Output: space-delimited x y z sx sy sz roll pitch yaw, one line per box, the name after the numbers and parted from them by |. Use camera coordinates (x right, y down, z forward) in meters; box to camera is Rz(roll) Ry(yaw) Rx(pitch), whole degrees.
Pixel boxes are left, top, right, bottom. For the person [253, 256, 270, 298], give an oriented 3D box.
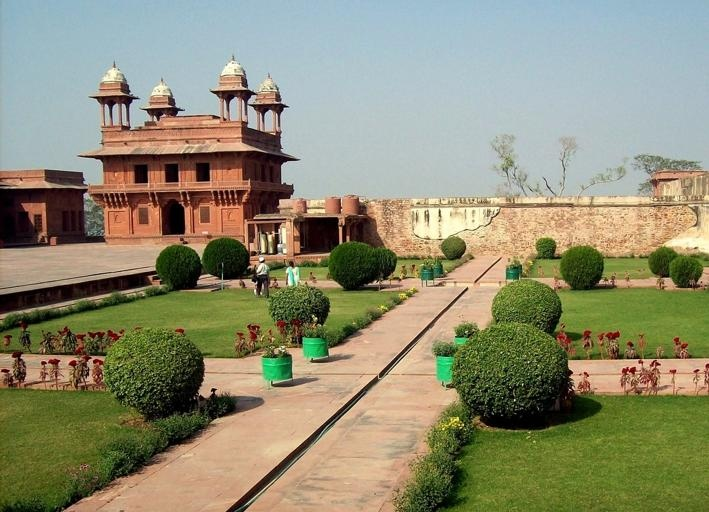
-2.863 0.640 28.949 0.422 1.241 0.937 -3 13 -7 | person

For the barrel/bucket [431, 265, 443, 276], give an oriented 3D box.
2.992 0.547 34.249 0.435 0.414 0.430 -1 -3 0 | barrel/bucket

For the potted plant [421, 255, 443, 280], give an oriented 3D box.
2.550 0.351 33.676 0.956 0.973 0.953 -2 -5 14 | potted plant

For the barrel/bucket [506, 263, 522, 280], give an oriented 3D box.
5.334 0.541 31.705 0.534 0.516 0.266 -1 -3 1 | barrel/bucket

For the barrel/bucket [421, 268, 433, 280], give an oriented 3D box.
2.437 0.617 31.827 0.346 0.247 0.343 0 -2 0 | barrel/bucket

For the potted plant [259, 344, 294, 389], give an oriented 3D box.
-1.437 2.002 17.447 0.608 0.635 0.591 -3 3 -11 | potted plant

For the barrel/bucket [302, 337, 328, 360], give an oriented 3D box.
-0.794 1.860 18.832 0.459 0.336 0.454 -1 -2 0 | barrel/bucket

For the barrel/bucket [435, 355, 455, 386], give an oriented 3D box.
1.631 2.078 17.124 0.258 0.545 0.558 -3 13 -9 | barrel/bucket

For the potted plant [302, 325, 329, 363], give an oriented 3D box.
-0.776 1.802 19.219 0.628 0.830 0.634 -2 4 3 | potted plant

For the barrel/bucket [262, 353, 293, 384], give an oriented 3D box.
-1.489 2.089 17.375 0.539 0.416 0.526 -2 0 0 | barrel/bucket

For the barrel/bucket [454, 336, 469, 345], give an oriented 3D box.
2.043 1.633 18.210 0.310 0.189 0.301 0 -2 0 | barrel/bucket
